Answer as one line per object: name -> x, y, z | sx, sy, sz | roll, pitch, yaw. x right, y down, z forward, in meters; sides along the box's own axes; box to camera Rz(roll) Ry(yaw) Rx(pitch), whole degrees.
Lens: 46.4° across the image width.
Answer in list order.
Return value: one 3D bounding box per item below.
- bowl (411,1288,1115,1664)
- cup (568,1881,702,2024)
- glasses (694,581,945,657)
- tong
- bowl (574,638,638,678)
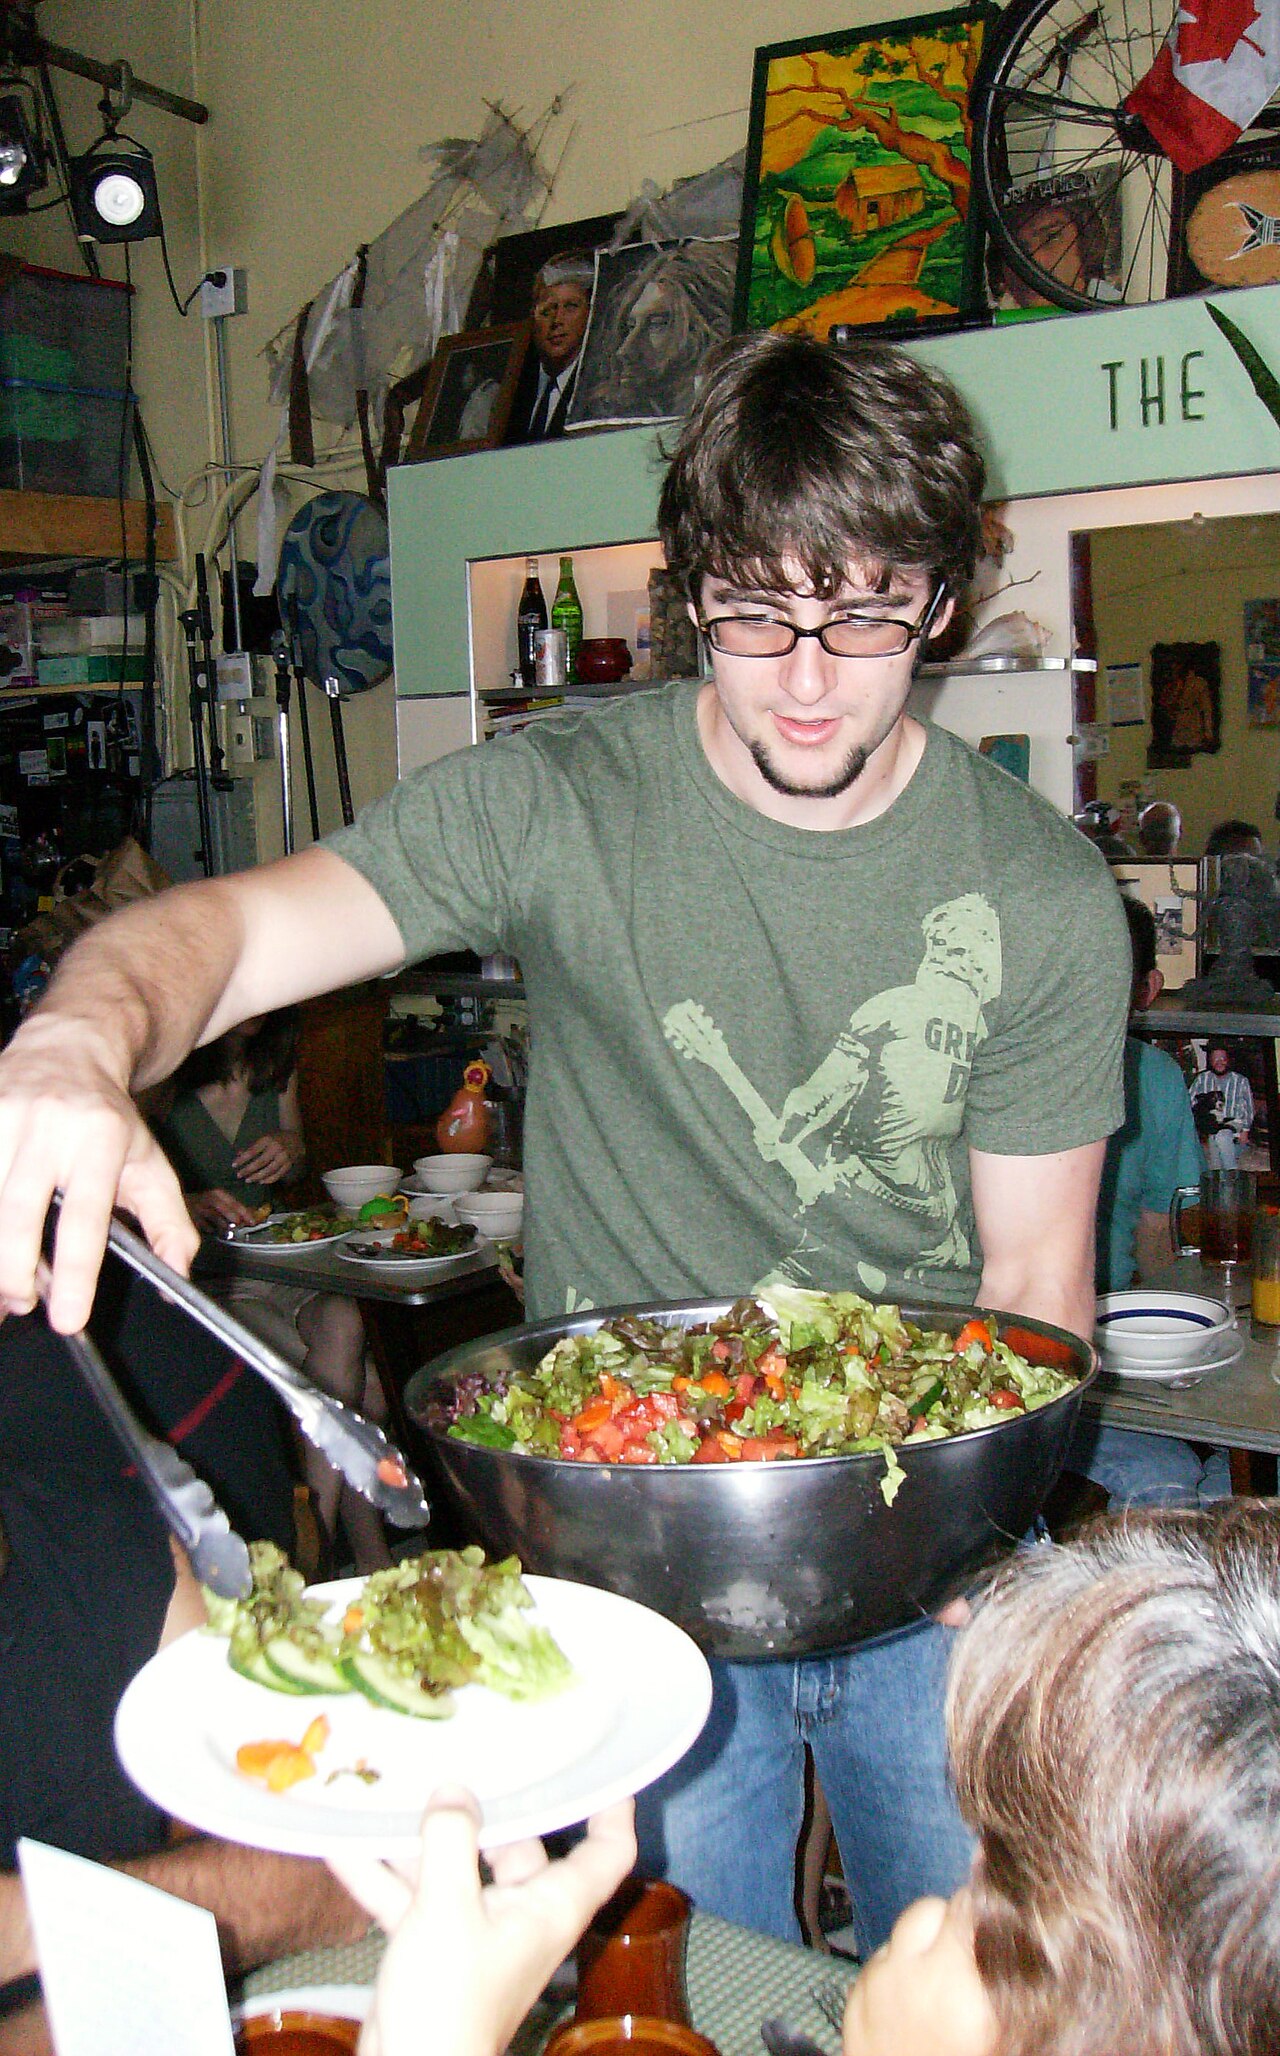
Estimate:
bowl -> 0.097, 0.273, 0.930 | 0.354, 0.131, 0.359 | -4, 1, 0
cup -> 0.004, 0.469, 0.774 | 0.069, 0.076, 0.072 | 2, 3, 0
glasses -> 0.157, -0.338, 1.291 | 0.193, 0.055, 0.086 | -7, 9, -1
tong -> -0.203, 0.182, 0.737 | 0.104, 0.047, 0.313 | -42, 37, -9
bowl -> -0.105, -1.063, 4.371 | 0.131, 0.108, 0.127 | 2, 14, -1
